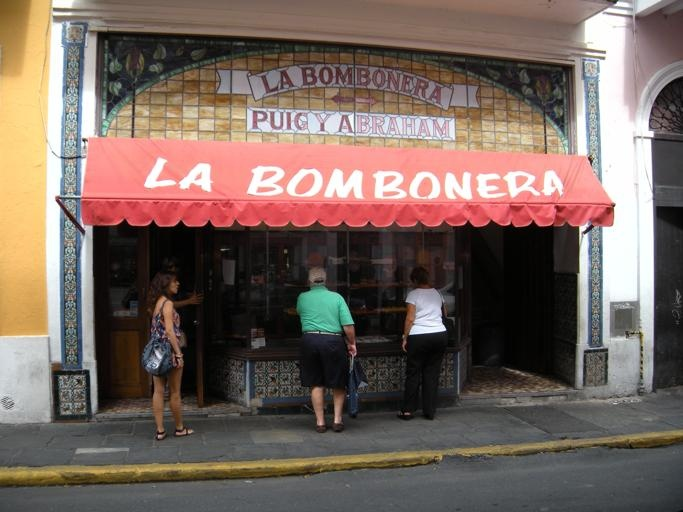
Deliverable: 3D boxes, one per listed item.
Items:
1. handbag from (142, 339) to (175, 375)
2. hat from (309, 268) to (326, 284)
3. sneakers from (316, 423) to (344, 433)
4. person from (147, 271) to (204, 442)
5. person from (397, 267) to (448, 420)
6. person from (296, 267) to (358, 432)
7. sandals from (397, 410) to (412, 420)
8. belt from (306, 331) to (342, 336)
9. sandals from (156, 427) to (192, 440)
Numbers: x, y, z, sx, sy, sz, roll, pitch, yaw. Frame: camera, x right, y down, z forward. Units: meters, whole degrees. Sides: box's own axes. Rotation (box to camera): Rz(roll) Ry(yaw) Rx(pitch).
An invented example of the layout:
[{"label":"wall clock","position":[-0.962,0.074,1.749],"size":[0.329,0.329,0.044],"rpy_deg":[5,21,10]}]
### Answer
[{"label":"handbag","position":[-2.421,1.332,10.177],"size":[0.400,0.528,0.291],"rpy_deg":[9,7,14]},{"label":"hat","position":[-0.322,0.292,11.065],"size":[0.193,0.249,0.245],"rpy_deg":[1,7,-13]},{"label":"sneakers","position":[-0.145,2.414,10.738],"size":[0.246,0.086,0.176],"rpy_deg":[-1,-6,2]},{"label":"person","position":[-2.349,1.354,10.613],"size":[0.527,2.253,1.042],"rpy_deg":[-2,-3,-12]},{"label":"person","position":[1.192,1.457,11.345],"size":[0.740,1.916,0.334],"rpy_deg":[-3,-3,2]},{"label":"person","position":[-0.198,1.319,10.842],"size":[0.789,2.303,0.346],"rpy_deg":[-2,-3,-4]},{"label":"sandals","position":[0.943,2.352,11.320],"size":[0.210,0.123,0.105],"rpy_deg":[-3,-3,4]},{"label":"belt","position":[-0.247,1.096,10.770],"size":[0.474,0.084,0.122],"rpy_deg":[-2,-3,-13]},{"label":"sandals","position":[-2.266,2.423,10.426],"size":[0.417,0.112,0.175],"rpy_deg":[-3,0,-22]}]
